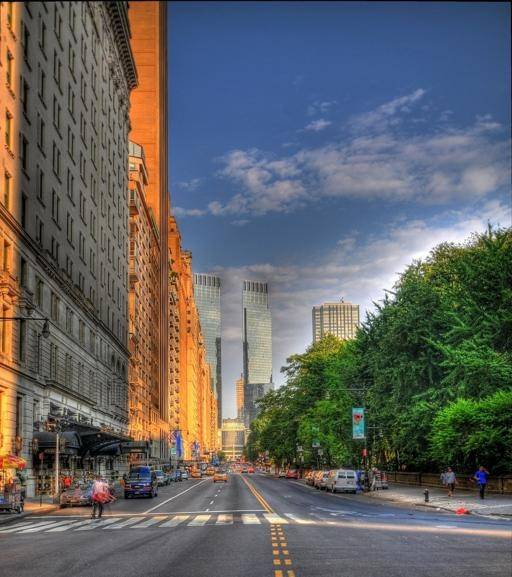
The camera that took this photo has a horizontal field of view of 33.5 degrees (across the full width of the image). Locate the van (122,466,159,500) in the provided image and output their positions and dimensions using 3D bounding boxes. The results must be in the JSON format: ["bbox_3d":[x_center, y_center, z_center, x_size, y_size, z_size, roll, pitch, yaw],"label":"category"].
[{"bbox_3d":[-7.243,12.128,53.118,1.356,1.389,2.664,-1,-16,-2],"label":"van"}]
